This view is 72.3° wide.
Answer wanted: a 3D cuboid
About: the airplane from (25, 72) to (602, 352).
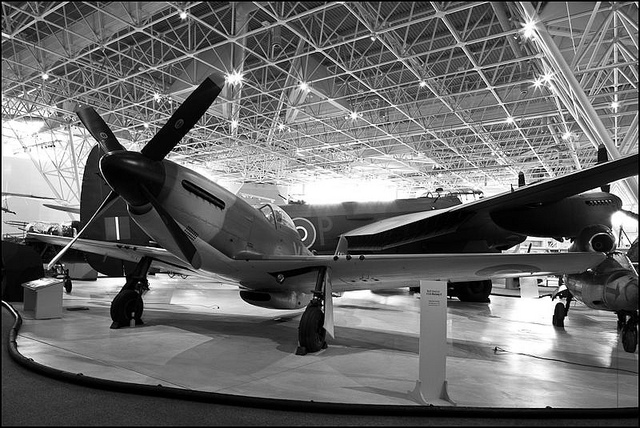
[{"bbox_3d":[-1.104,0.018,8.732,10.490,3.095,4.293,3,-3,7],"label":"airplane"}]
